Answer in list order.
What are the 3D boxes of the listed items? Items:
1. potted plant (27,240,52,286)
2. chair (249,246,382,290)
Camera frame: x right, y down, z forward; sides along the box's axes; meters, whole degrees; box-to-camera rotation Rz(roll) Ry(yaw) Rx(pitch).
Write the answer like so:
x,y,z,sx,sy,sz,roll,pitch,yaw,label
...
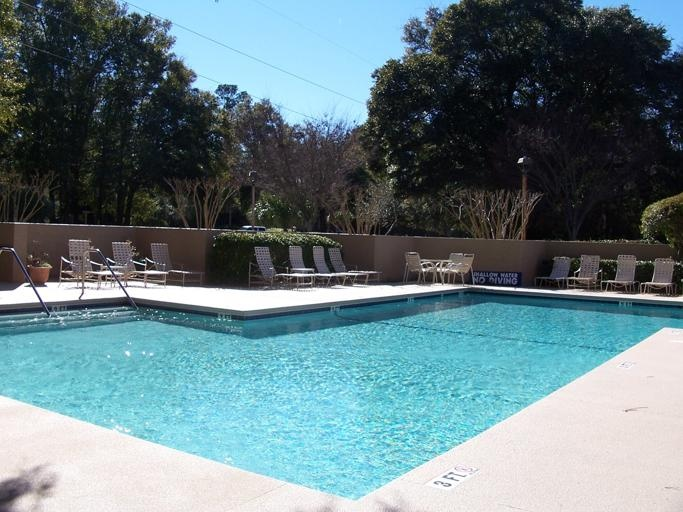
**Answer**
x,y,z,sx,sy,sz,roll,pitch,yaw,label
-8.479,0.170,14.083,0.550,1.226,2.354,-1,1,-32,potted plant
-0.982,0.316,15.619,3.739,1.218,1.990,0,1,-40,chair
